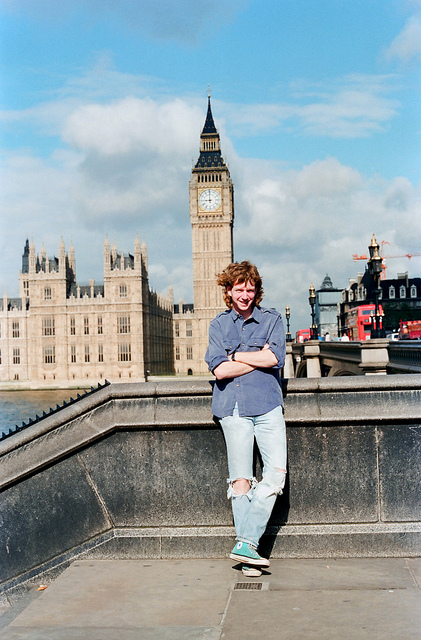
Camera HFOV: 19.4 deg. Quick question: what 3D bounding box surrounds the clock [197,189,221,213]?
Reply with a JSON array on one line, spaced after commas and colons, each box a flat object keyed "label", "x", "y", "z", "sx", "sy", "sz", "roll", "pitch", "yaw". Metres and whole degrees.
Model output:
[{"label": "clock", "x": -0.221, "y": -10.792, "z": 110.444, "sx": 1.997, "sy": 1.896, "sz": 0.833, "roll": -4, "pitch": -1, "yaw": -6}]

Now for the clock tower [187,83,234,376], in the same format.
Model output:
[{"label": "clock tower", "x": -0.239, "y": -7.987, "z": 109.697, "sx": 3.525, "sy": 27.314, "sz": 2.586, "roll": -3, "pitch": 1, "yaw": -9}]

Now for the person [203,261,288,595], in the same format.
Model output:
[{"label": "person", "x": 0.199, "y": 0.511, "z": 6.484, "sx": 0.430, "sy": 1.584, "sz": 0.808, "roll": -3, "pitch": -1, "yaw": 0}]

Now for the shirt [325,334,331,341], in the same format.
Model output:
[{"label": "shirt", "x": 7.102, "y": 1.097, "z": 76.350, "sx": 0.311, "sy": 0.504, "sz": 0.249, "roll": 10, "pitch": 9, "yaw": 19}]
